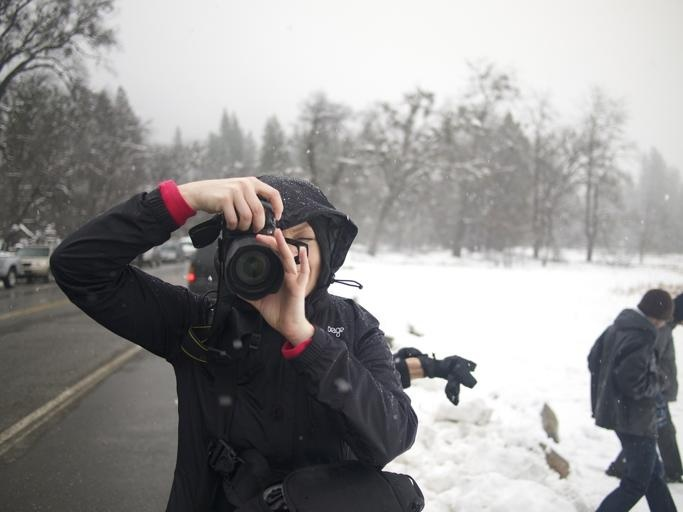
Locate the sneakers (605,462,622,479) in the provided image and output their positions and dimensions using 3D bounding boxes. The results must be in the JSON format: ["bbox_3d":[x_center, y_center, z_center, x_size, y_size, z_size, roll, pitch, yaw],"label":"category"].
[{"bbox_3d":[2.125,1.661,4.707,0.113,0.123,0.045,3,-9,44],"label":"sneakers"}]

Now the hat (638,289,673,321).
[{"bbox_3d":[2.405,0.380,4.668,0.238,0.275,0.196,-6,13,5],"label":"hat"}]

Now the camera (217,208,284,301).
[{"bbox_3d":[-0.541,-0.058,3.731,0.348,0.604,0.534,2,4,-10],"label":"camera"}]
